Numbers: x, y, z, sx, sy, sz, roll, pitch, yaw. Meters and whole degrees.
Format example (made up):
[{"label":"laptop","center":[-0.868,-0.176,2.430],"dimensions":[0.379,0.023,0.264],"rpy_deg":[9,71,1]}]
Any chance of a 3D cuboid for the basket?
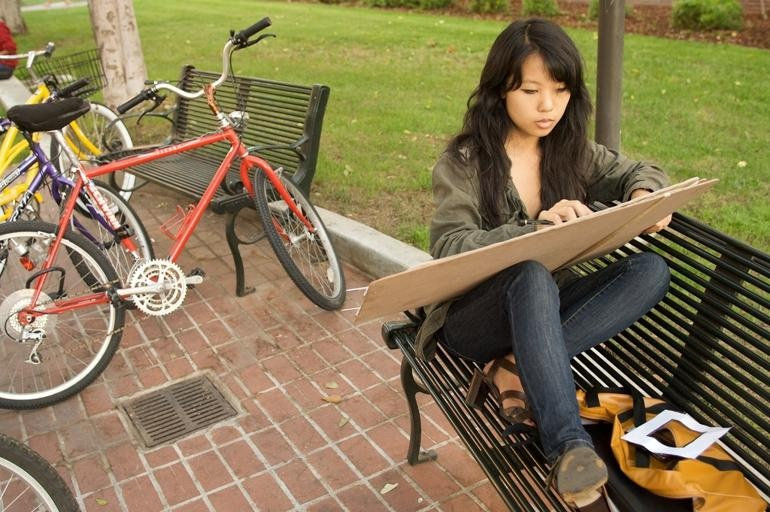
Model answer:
[{"label":"basket","center":[-3.873,-2.148,6.777],"dimensions":[0.682,0.441,0.998],"rpy_deg":[-11,15,15]}]
